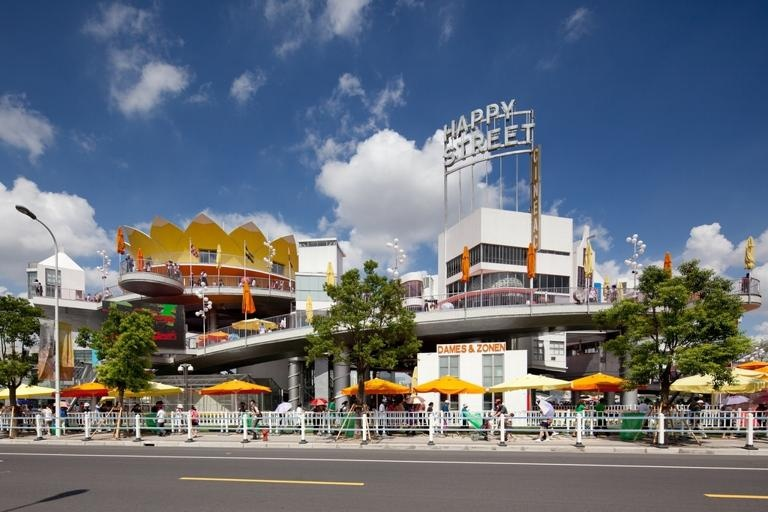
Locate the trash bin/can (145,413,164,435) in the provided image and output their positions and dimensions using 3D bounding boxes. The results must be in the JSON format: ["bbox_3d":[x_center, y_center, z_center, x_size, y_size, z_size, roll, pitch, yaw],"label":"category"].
[{"bbox_3d":[-14.175,10.380,51.898,1.280,1.624,1.229,3,-51,-10],"label":"trash bin/can"}]

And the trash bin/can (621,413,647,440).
[{"bbox_3d":[13.793,9.479,46.474,1.224,1.486,1.058,2,-25,10],"label":"trash bin/can"}]
